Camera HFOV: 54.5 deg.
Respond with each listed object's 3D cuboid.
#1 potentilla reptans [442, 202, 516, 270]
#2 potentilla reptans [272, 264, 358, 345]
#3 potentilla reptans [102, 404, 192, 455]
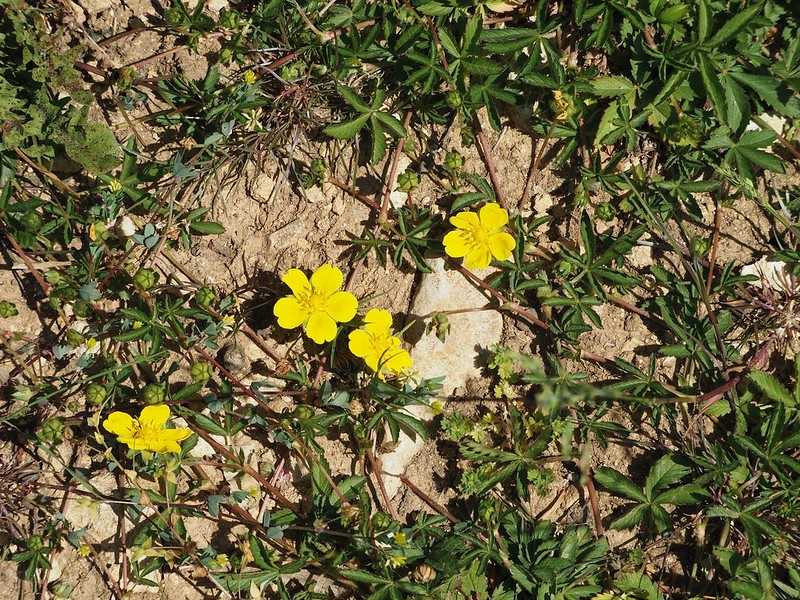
[{"bbox_3d":[0.474,-0.345,4.658,0.414,0.408,0.167,-20,20,2],"label":"potentilla reptans"},{"bbox_3d":[-0.509,0.020,4.571,0.460,0.425,0.228,-26,21,-11],"label":"potentilla reptans"},{"bbox_3d":[-1.415,0.754,4.370,0.405,0.352,0.220,-27,22,-14],"label":"potentilla reptans"}]
